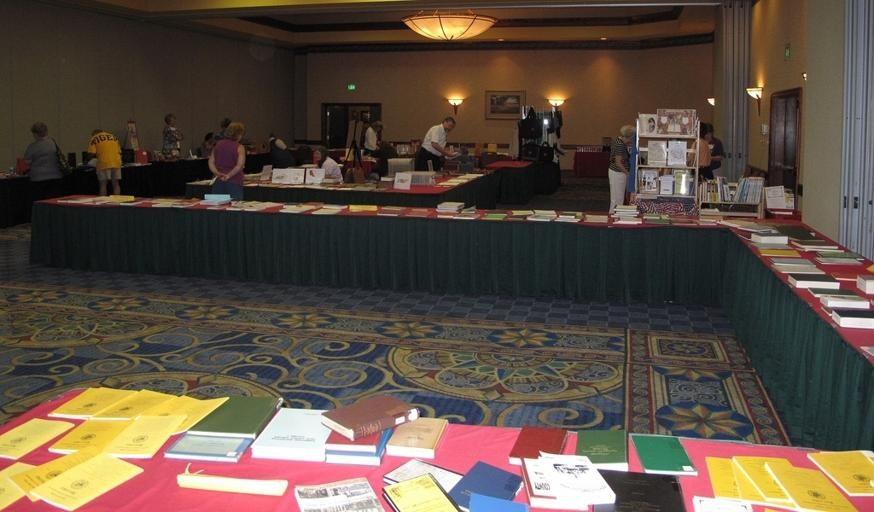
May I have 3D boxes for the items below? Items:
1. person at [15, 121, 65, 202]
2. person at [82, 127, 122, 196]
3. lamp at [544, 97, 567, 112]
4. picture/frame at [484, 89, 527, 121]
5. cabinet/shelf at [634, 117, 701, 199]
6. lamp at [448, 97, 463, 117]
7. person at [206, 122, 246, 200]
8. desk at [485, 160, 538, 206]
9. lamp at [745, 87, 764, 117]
[{"bbox_3d":[-7.010,-1.684,9.813,0.611,1.346,0.570,-11,19,-34],"label":"person"},{"bbox_3d":[-6.381,-1.804,10.678,0.481,1.232,0.949,-9,18,-31],"label":"person"},{"bbox_3d":[4.170,-5.320,19.175,0.760,0.849,0.209,2,12,14],"label":"lamp"},{"bbox_3d":[2.438,-5.383,19.586,1.384,1.008,0.344,1,15,2],"label":"picture/frame"},{"bbox_3d":[3.126,-1.399,7.482,0.822,1.149,1.001,6,17,21],"label":"cabinet/shelf"},{"bbox_3d":[0.696,-5.475,19.952,0.560,0.632,0.125,6,16,18],"label":"lamp"},{"bbox_3d":[-2.935,-1.308,7.759,0.479,1.099,0.716,-6,17,-21],"label":"person"},{"bbox_3d":[1.786,-2.014,13.008,1.024,0.769,1.686,4,17,13],"label":"desk"},{"bbox_3d":[6.743,-3.319,11.715,0.294,0.593,0.810,7,17,24],"label":"lamp"}]
